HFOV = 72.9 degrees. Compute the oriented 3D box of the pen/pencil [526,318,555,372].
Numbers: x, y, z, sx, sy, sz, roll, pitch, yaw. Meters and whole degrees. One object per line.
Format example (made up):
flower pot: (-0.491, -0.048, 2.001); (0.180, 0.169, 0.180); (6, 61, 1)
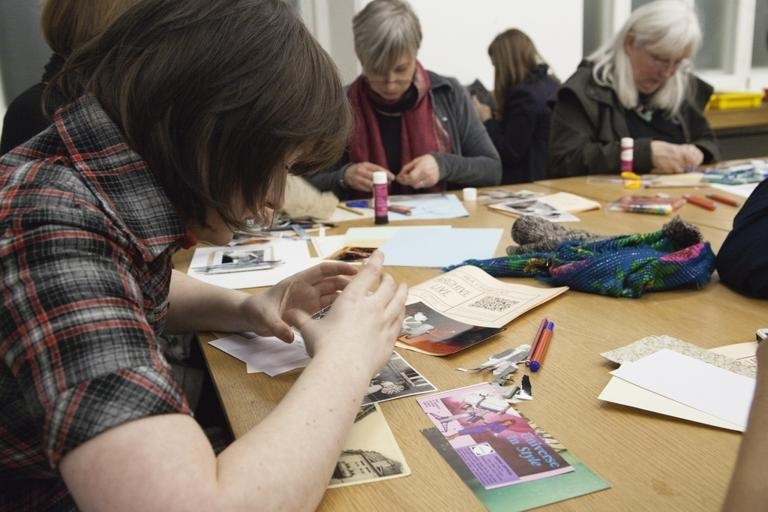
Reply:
pen/pencil: (0.303, 0.172, 0.991); (0.029, 0.028, 0.202); (-6, 20, 26)
